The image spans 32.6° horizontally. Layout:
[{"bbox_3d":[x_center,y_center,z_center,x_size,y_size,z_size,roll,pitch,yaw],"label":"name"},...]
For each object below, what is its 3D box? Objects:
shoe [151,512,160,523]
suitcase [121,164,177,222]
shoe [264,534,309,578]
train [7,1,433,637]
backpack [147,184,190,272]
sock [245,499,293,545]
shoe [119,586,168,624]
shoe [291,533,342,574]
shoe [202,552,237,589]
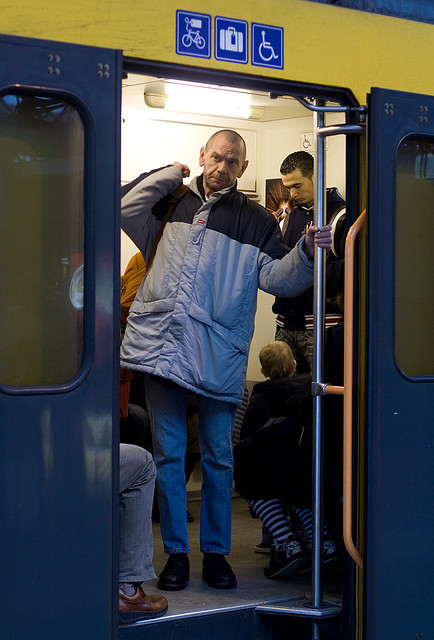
[{"bbox_3d":[-0.362,1.157,4.363,0.036,0.049,0.104,1,3,-12],"label":"shoe"},{"bbox_3d":[-0.310,-0.568,3.408,0.251,0.238,0.360,1,3,-6],"label":"suitcase"},{"bbox_3d":[0.316,1.060,3.340,0.244,0.146,0.151,0,3,-30],"label":"shoe"},{"bbox_3d":[-0.022,-0.148,3.206,1.441,2.347,2.344,1,2,-9],"label":"train"},{"bbox_3d":[-0.214,-0.435,3.389,0.081,0.337,0.237,27,-8,-8],"label":"backpack"},{"bbox_3d":[0.260,0.927,3.485,0.147,0.141,0.319,1,3,-17],"label":"sock"},{"bbox_3d":[-0.258,0.979,2.589,0.075,0.107,0.222,-3,-6,38],"label":"shoe"},{"bbox_3d":[0.438,1.071,3.356,0.130,0.161,0.384,9,-28,-30],"label":"shoe"},{"bbox_3d":[0.009,1.052,3.116,0.108,0.110,0.211,1,3,-15],"label":"shoe"}]
